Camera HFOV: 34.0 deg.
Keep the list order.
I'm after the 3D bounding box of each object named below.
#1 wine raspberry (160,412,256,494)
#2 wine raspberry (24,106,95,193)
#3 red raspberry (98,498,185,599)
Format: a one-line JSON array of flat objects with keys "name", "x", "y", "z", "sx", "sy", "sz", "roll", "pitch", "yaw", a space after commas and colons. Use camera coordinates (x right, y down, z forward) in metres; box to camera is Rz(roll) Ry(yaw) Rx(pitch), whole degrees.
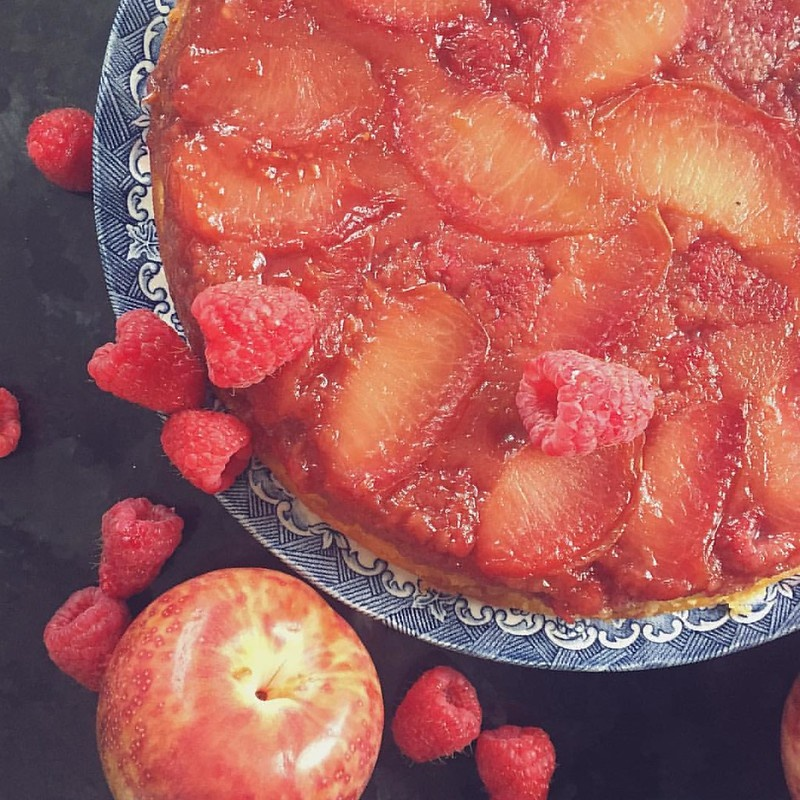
[{"name": "wine raspberry", "x": -0.482, "y": 0.100, "z": 3.114, "sx": 0.194, "sy": 0.155, "sz": 0.158, "roll": 14, "pitch": 31, "yaw": 34}, {"name": "wine raspberry", "x": -0.873, "y": -0.654, "z": 3.427, "sx": 0.168, "sy": 0.209, "sz": 0.205, "roll": -11, "pitch": 65, "yaw": -6}, {"name": "red raspberry", "x": -0.662, "y": 0.378, "z": 3.376, "sx": 0.161, "sy": 0.257, "sz": 0.193, "roll": 14, "pitch": 18, "yaw": -34}]
